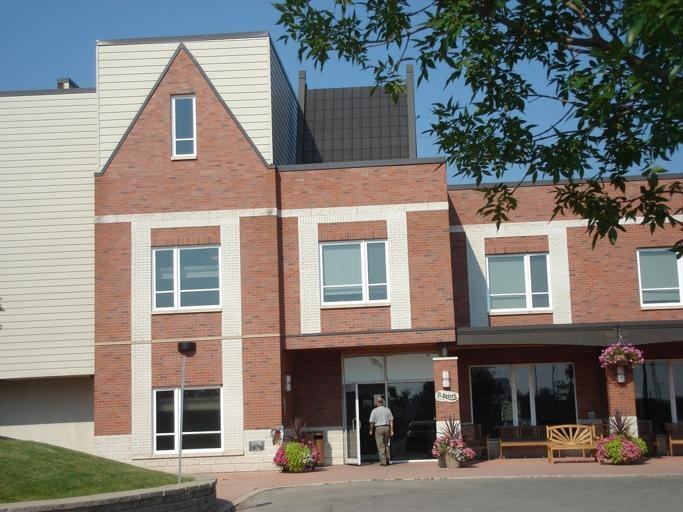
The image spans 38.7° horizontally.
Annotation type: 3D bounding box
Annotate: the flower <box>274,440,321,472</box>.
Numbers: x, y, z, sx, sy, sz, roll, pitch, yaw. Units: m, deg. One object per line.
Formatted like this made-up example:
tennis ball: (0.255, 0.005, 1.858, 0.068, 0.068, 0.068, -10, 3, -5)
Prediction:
flower: (-1.344, 5.960, 29.055, 0.916, 0.973, 1.344, -11, -16, 27)

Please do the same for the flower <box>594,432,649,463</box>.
flower: (8.162, 5.519, 27.913, 1.518, 0.870, 1.310, -2, -14, -4)

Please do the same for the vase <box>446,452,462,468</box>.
vase: (3.308, 5.939, 28.303, 0.455, 0.286, 0.412, 2, -16, -8)

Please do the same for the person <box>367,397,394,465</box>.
person: (1.248, 5.366, 29.992, 0.675, 2.144, 1.498, -4, -15, 0)

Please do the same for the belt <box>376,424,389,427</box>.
belt: (1.250, 5.125, 29.455, 0.389, 0.103, 0.090, -3, -15, -2)

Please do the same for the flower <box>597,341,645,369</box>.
flower: (8.534, 3.004, 29.668, 1.021, 0.594, 0.990, -1, -4, 12)
